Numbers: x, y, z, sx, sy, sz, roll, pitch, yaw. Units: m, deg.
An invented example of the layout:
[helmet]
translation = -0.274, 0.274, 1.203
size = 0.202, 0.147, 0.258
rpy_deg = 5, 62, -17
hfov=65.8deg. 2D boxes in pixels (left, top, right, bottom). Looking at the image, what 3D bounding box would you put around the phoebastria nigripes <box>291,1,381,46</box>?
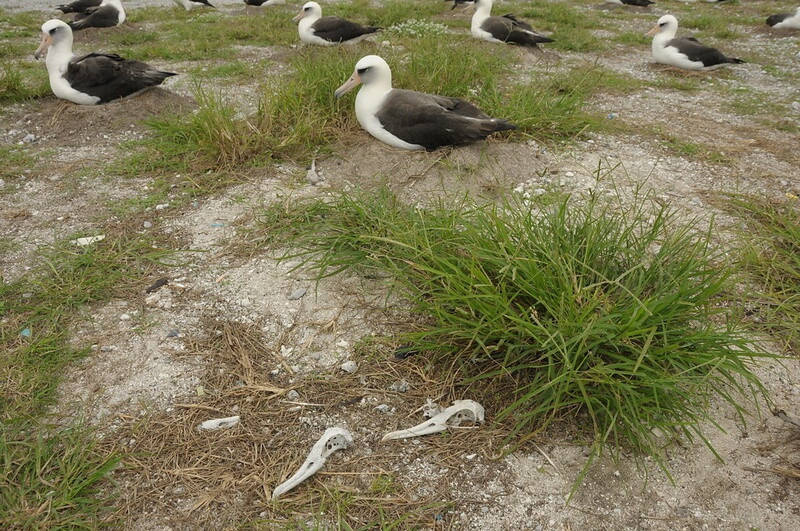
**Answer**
[phoebastria nigripes]
translation = -1.177, -4.452, 11.607
size = 1.712, 0.649, 0.751
rpy_deg = -3, 45, -4
